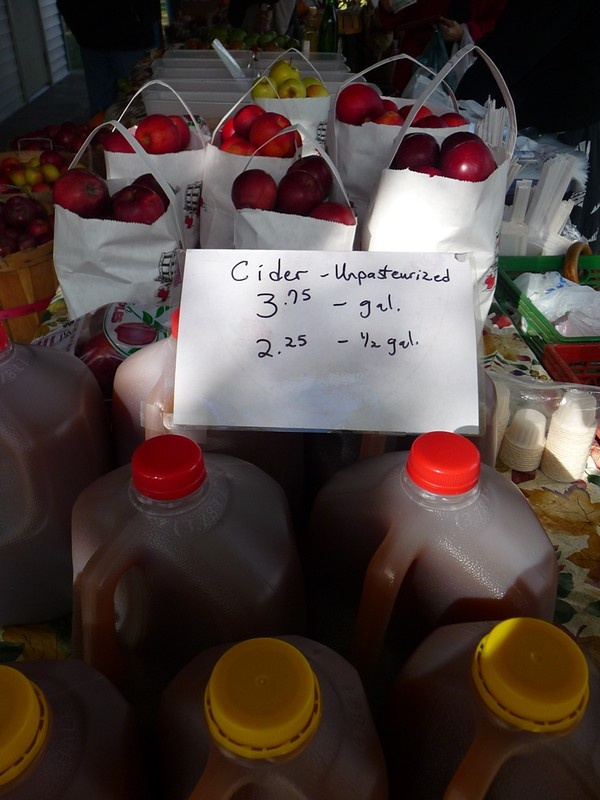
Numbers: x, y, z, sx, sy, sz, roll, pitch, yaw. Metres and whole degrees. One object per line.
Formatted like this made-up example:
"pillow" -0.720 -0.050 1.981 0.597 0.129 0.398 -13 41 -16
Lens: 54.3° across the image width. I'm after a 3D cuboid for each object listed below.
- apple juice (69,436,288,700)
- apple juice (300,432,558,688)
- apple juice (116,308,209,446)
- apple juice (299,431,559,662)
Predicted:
"apple juice" -0.090 0.129 0.430 0.099 0.166 0.164 27 45 28
"apple juice" 0.090 0.127 0.452 0.152 0.158 0.094 -39 53 -25
"apple juice" -0.134 -0.019 0.565 0.081 0.148 0.085 5 45 -19
"apple juice" 0.092 0.120 0.467 0.095 0.159 0.150 30 59 30
